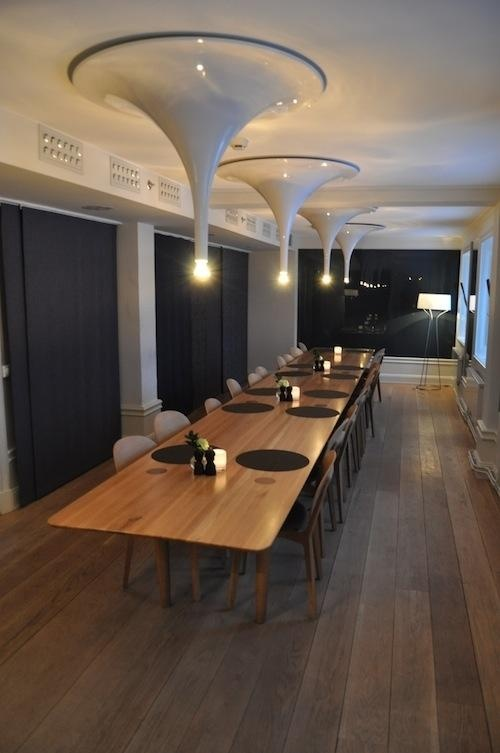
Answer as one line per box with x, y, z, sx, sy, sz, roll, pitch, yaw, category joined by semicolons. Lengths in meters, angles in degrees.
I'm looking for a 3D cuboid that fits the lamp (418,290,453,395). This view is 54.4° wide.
3.723;-0.727;9.945;0.640;1.921;0.838;2;4;19;lamp

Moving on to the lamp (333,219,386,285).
1.806;-2.142;8.459;0.885;0.994;0.935;-1;9;-3;lamp

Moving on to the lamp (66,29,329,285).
-0.251;-0.993;2.331;1.016;0.833;1.088;4;31;15;lamp

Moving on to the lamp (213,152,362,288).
0.298;-1.266;4.175;1.176;0.976;1.149;-12;19;-39;lamp

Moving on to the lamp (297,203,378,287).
1.132;-1.651;6.432;0.920;1.028;0.959;-2;10;-11;lamp
